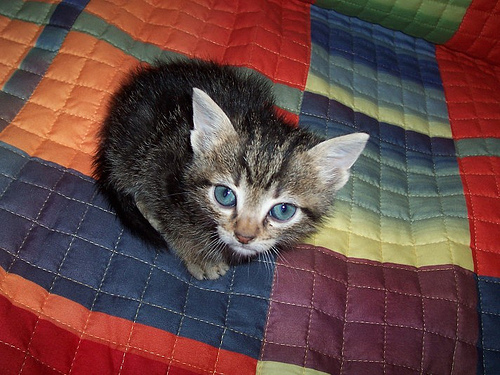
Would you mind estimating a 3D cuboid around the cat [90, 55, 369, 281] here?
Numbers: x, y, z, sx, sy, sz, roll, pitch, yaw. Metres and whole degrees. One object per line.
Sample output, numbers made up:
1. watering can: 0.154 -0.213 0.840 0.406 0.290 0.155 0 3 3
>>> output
1. cat: -0.224 -0.326 2.530 0.895 0.957 1.371 -21 70 -38
